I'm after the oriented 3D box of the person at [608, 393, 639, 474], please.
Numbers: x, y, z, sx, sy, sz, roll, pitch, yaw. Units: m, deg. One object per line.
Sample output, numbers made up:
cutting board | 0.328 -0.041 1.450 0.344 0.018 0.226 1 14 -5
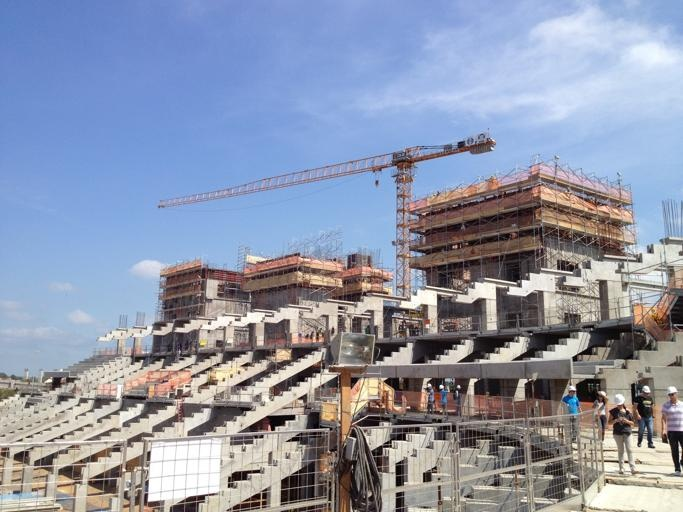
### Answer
person | 7.984 5.020 18.727 0.763 2.104 0.922 3 -12 1
